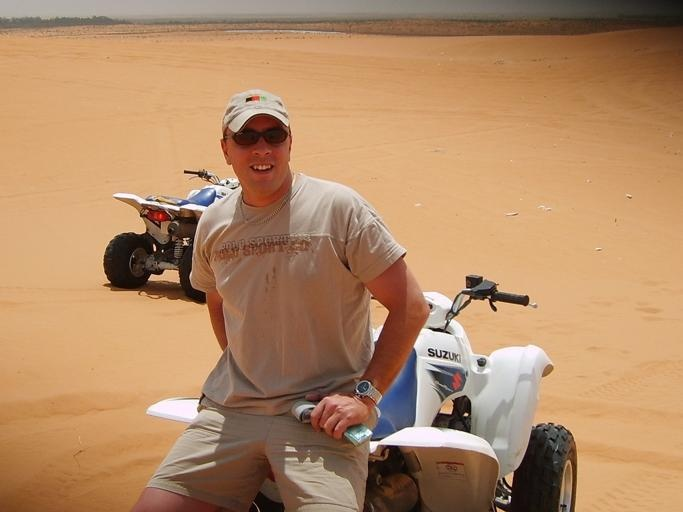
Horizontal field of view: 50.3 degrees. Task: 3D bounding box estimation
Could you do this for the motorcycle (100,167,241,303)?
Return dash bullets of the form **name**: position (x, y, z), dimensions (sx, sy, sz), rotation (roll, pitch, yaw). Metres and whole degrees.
- **motorcycle**: position (-2.516, -0.354, 9.731), dimensions (1.690, 1.459, 2.491), rotation (4, 11, 19)
